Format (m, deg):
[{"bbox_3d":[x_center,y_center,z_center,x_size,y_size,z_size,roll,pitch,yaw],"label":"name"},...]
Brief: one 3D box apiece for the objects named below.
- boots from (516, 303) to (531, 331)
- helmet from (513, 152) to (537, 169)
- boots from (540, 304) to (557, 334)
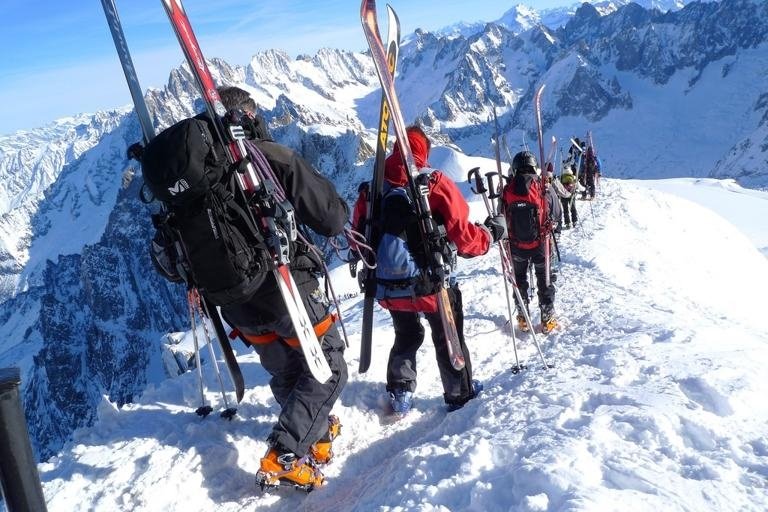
[{"bbox_3d":[2.728,1.216,11.612,0.200,0.671,0.282,-7,-5,-2],"label":"boots"},{"bbox_3d":[2.786,-1.906,11.766,0.345,0.440,0.429,2,5,19],"label":"helmet"},{"bbox_3d":[3.312,1.290,11.950,0.264,0.592,0.580,3,37,29],"label":"boots"}]
